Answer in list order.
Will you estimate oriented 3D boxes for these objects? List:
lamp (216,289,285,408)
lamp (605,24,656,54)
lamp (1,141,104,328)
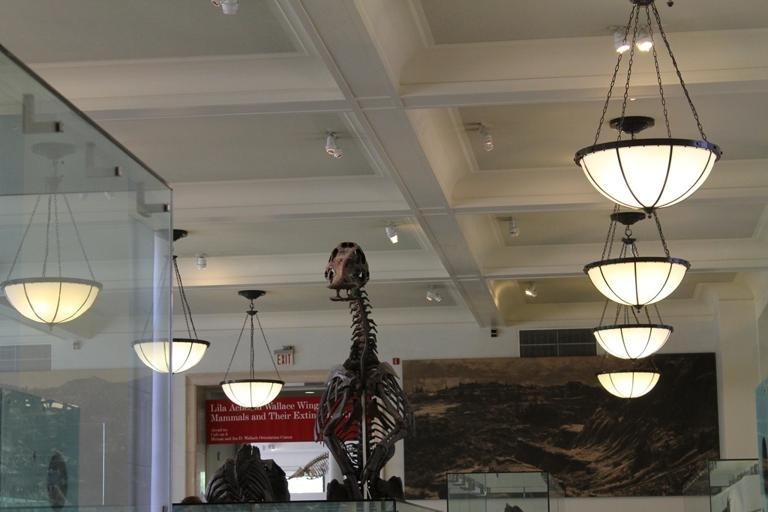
[{"bbox_3d":[-1.759,1.351,14.205,0.830,1.647,2.540,-1,-21,-8],"label":"lamp"},{"bbox_3d":[1.752,-1.534,7.383,0.255,0.226,0.112,0,-44,1],"label":"lamp"},{"bbox_3d":[-1.553,-0.048,4.966,0.250,0.769,0.428,-9,-21,14],"label":"lamp"}]
